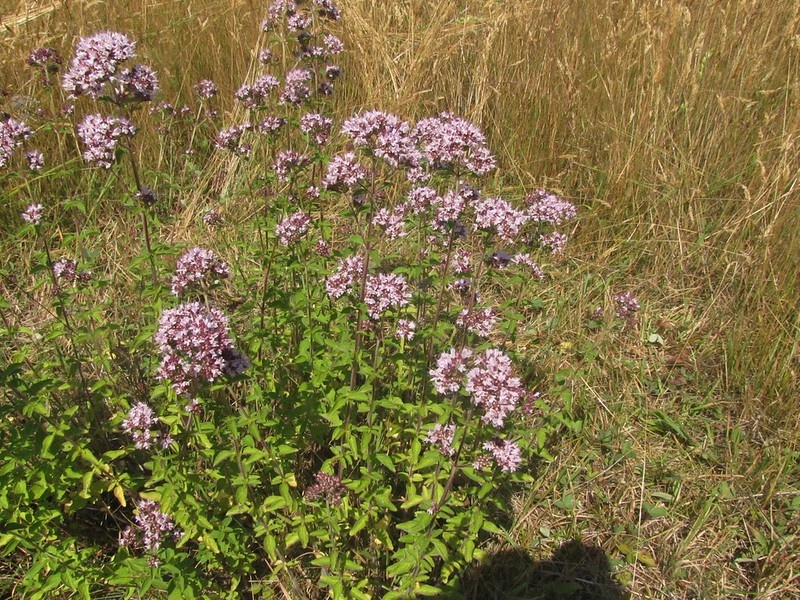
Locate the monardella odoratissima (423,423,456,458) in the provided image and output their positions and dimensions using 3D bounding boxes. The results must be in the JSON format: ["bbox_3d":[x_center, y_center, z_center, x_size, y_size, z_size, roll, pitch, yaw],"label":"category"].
[{"bbox_3d":[0.401,1.348,7.711,0.274,0.174,0.290,13,23,-16],"label":"monardella odoratissima"}]
